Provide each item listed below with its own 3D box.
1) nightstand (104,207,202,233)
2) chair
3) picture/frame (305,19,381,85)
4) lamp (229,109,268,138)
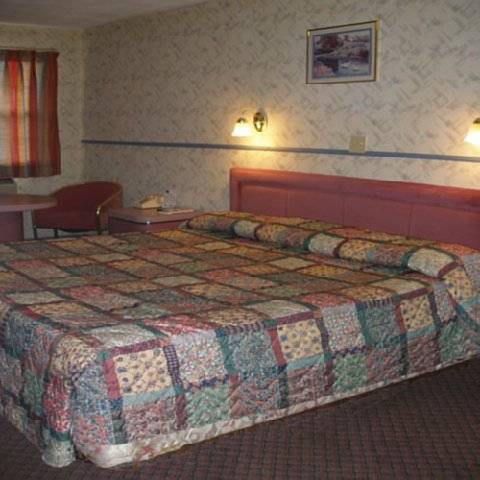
[{"bbox_3d":[-0.983,-0.229,4.491,0.495,0.242,0.483,-8,14,-42],"label":"nightstand"},{"bbox_3d":[-2.233,-0.394,5.780,0.947,0.622,0.686,0,21,-2],"label":"chair"},{"bbox_3d":[0.831,-1.526,3.532,0.017,0.434,0.741,-26,31,-32],"label":"picture/frame"},{"bbox_3d":[0.119,-1.127,4.133,0.368,0.239,0.268,-8,18,-30],"label":"lamp"}]
